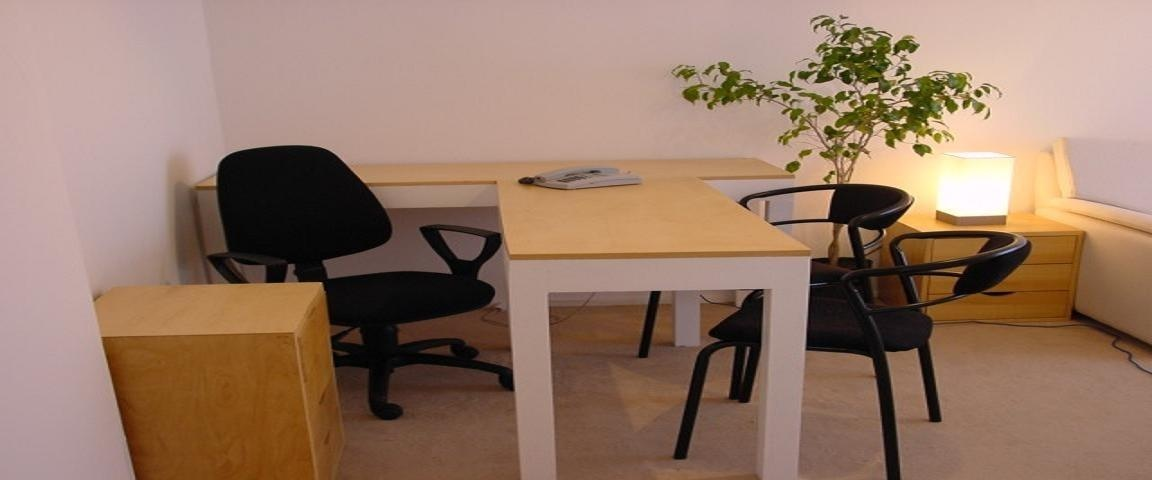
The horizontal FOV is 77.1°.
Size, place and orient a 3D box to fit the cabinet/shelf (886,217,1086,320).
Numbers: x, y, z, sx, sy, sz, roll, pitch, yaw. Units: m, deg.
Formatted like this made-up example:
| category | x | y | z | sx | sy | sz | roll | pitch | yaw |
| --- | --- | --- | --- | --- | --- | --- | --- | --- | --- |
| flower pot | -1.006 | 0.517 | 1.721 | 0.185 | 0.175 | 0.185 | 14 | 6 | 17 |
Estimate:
| category | x | y | z | sx | sy | sz | roll | pitch | yaw |
| --- | --- | --- | --- | --- | --- | --- | --- | --- | --- |
| cabinet/shelf | 3.601 | 0.336 | 6.587 | 1.921 | 0.750 | 1.008 | 0 | 8 | 1 |

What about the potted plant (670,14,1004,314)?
| category | x | y | z | sx | sy | sz | roll | pitch | yaw |
| --- | --- | --- | --- | --- | --- | --- | --- | --- | --- |
| potted plant | 2.528 | -0.918 | 7.025 | 3.089 | 1.954 | 2.703 | -6 | 19 | -11 |
